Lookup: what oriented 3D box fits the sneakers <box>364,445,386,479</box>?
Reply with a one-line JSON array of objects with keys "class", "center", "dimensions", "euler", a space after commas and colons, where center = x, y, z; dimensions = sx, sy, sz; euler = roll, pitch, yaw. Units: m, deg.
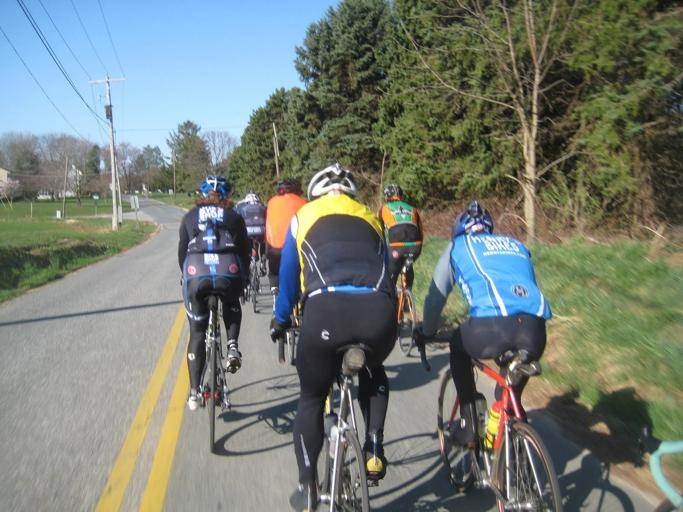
[{"class": "sneakers", "center": [0.294, 1.824, 4.783], "dimensions": [0.189, 0.246, 0.173], "euler": [0, 13, 2]}]

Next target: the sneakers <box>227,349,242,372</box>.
[{"class": "sneakers", "center": [-1.314, 1.287, 6.765], "dimensions": [0.170, 0.292, 0.270], "euler": [12, -26, -1]}]

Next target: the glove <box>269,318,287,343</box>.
[{"class": "glove", "center": [-0.619, 0.732, 5.305], "dimensions": [0.136, 0.236, 0.212], "euler": [5, 40, -8]}]

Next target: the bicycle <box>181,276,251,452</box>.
[{"class": "bicycle", "center": [-1.513, 1.166, 6.504], "dimensions": [0.446, 1.769, 0.993], "euler": [-2, 13, -7]}]

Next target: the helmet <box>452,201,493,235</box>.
[{"class": "helmet", "center": [1.319, -0.366, 5.570], "dimensions": [0.406, 0.299, 0.179], "euler": [-44, 12, -16]}]

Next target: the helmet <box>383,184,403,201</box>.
[{"class": "helmet", "center": [0.869, -1.092, 9.189], "dimensions": [0.197, 0.334, 0.300], "euler": [2, 15, 2]}]

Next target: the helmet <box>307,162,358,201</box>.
[{"class": "helmet", "center": [-0.085, -0.727, 5.245], "dimensions": [0.349, 0.422, 0.318], "euler": [-7, -2, -10]}]

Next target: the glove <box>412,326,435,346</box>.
[{"class": "glove", "center": [0.859, 0.825, 5.699], "dimensions": [0.218, 0.173, 0.147], "euler": [7, -6, -27]}]

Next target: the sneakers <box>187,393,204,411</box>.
[{"class": "sneakers", "center": [-1.753, 1.719, 6.588], "dimensions": [0.125, 0.243, 0.199], "euler": [1, -2, -11]}]
